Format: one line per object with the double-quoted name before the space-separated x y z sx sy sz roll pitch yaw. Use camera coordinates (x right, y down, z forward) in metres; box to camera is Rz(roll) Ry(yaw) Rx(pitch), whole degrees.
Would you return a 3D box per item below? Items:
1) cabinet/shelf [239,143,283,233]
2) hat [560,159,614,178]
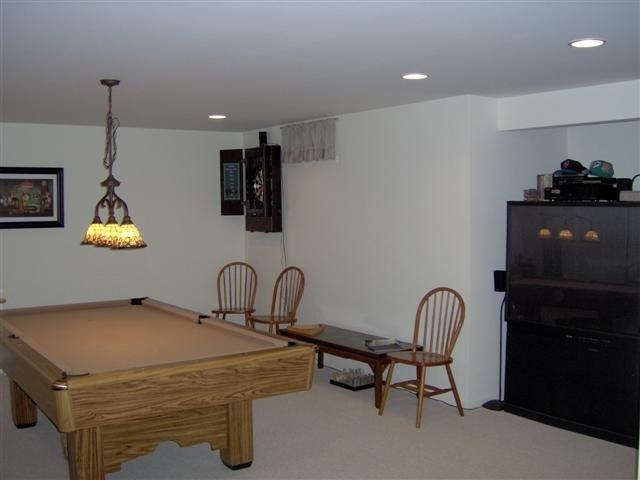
"cabinet/shelf" -0.790 -0.688 6.930 0.604 1.162 0.278 4 8 29
"hat" 2.447 -0.642 4.669 0.363 0.102 0.244 8 0 -5
